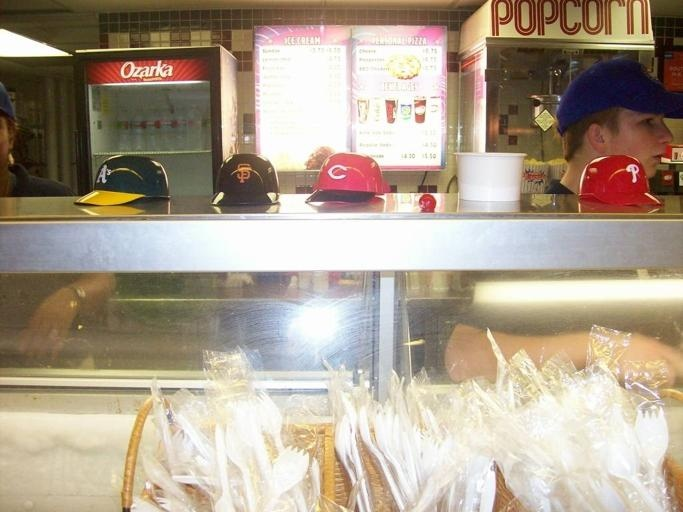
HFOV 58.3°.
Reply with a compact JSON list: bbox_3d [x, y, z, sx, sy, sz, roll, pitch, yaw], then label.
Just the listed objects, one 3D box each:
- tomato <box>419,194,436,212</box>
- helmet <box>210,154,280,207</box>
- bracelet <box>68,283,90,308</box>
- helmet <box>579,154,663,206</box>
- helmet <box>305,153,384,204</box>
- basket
[{"bbox_3d":[0.173,-0.106,1.239,0.029,0.040,0.039,-11,-31,21],"label":"tomato"},{"bbox_3d":[-0.222,-0.176,1.432,0.148,0.120,0.227,-2,5,-1],"label":"helmet"},{"bbox_3d":[-0.503,0.076,1.178,0.028,0.042,0.041,-5,-8,-9],"label":"bracelet"},{"bbox_3d":[0.588,-0.162,1.302,0.144,0.105,0.186,-3,7,-14],"label":"helmet"},{"bbox_3d":[0.011,-0.166,1.334,0.104,0.077,0.145,10,10,28],"label":"helmet"},{"bbox_3d":[0.051,0.370,1.103,0.783,0.113,0.407,0,11,-2],"label":"basket"}]
